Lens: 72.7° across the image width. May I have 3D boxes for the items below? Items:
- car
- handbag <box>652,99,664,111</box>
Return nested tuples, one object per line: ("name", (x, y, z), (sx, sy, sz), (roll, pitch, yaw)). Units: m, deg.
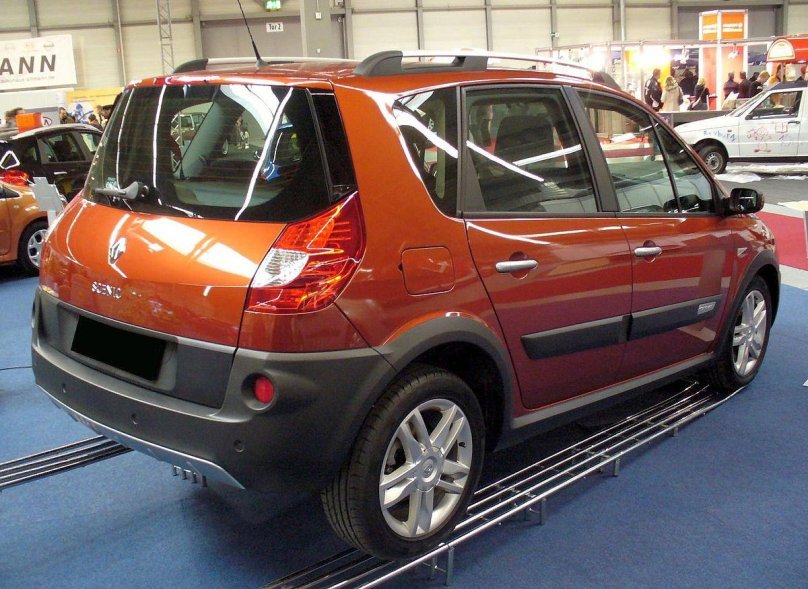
("car", (0.123, -0.101, 2.365), (2.818, 1.791, 0.998), (-12, 15, -34))
("handbag", (7.179, -5.349, 15.506), (0.350, 0.287, 0.099), (0, 9, -12))
